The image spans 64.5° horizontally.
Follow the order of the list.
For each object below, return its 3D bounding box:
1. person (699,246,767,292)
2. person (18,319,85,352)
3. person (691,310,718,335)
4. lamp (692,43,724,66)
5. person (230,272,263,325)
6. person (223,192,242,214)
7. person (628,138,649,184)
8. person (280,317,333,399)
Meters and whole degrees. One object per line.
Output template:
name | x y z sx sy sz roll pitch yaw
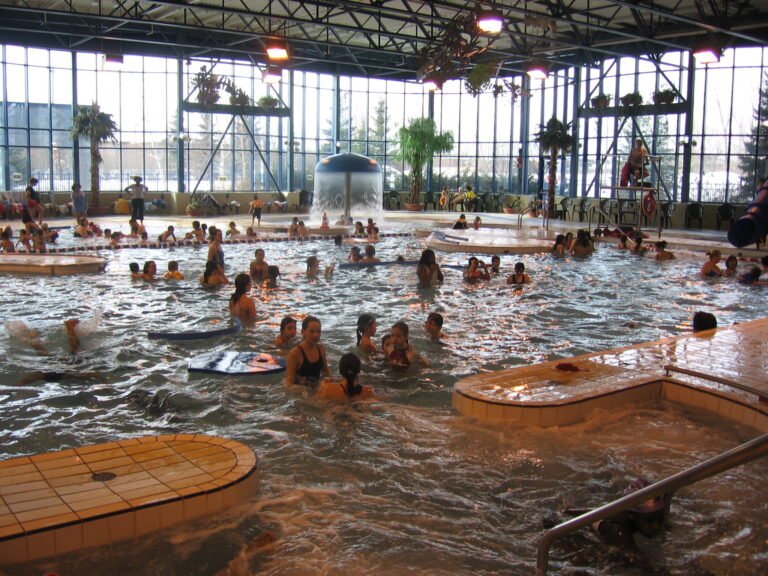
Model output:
person | 6.997 -0.344 12.308 1.359 0.553 0.849 5 21 32
person | -4.349 0.628 7.948 1.059 0.442 0.311 4 6 25
person | 4.185 0.435 7.960 0.249 0.326 0.822 -3 2 22
lamp | 7.860 -5.660 14.672 0.593 0.379 0.421 0 9 10
person | -1.969 0.159 8.954 0.584 0.756 0.592 1 12 -8
person | -7.386 -4.142 29.756 0.752 0.972 1.130 -2 9 -6
person | 7.714 -3.814 18.235 0.540 1.381 2.814 2 9 22
person | -0.765 0.718 6.415 0.566 0.854 0.508 -2 4 -30
